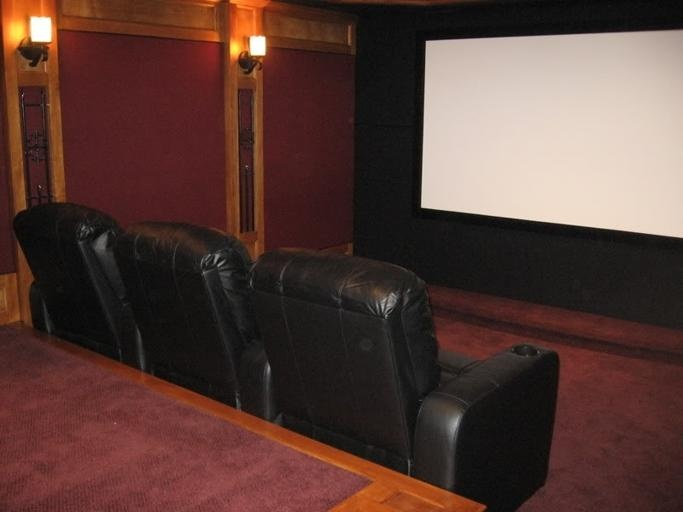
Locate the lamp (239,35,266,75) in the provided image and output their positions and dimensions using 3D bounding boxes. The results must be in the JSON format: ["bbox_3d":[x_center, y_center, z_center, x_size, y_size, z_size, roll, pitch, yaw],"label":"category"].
[{"bbox_3d":[-0.788,-1.909,5.336,0.238,0.340,0.360,7,14,23],"label":"lamp"}]

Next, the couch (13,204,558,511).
[{"bbox_3d":[-0.340,0.429,2.622,2.424,1.231,0.652,7,14,25],"label":"couch"}]

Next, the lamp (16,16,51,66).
[{"bbox_3d":[-2.201,-1.534,3.975,0.217,0.343,0.171,-7,15,-32],"label":"lamp"}]
